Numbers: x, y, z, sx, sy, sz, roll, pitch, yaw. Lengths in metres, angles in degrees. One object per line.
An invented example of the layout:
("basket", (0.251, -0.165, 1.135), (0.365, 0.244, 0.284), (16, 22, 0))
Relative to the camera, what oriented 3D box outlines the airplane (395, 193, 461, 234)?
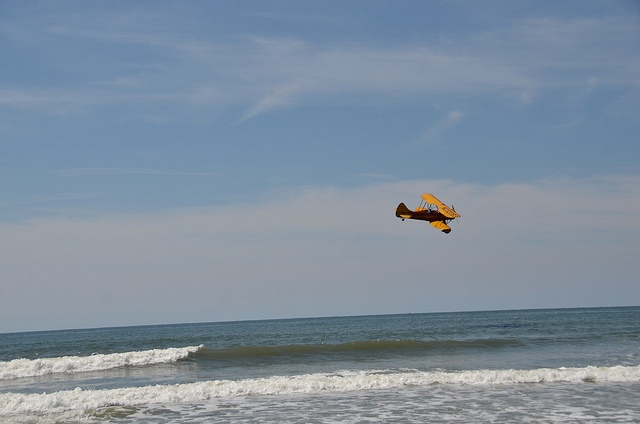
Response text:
("airplane", (11.519, 0.438, 144.899), (6.722, 2.091, 7.358), (-6, 21, -14))
